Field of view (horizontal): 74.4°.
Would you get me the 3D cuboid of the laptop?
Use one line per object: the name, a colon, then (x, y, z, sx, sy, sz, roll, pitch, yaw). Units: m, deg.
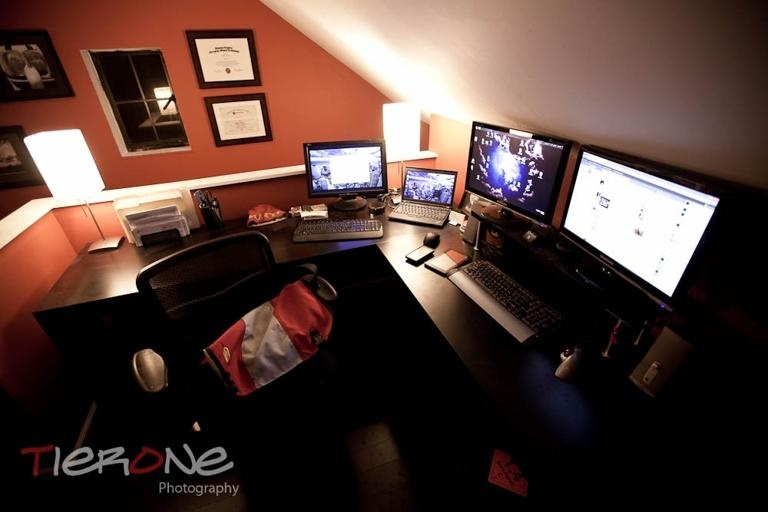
laptop: (0.317, -0.440, 3.671, 0.486, 0.299, 0.457, 11, 53, 17)

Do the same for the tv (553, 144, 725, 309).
tv: (1.331, -0.147, 2.580, 0.121, 0.528, 0.731, -10, 42, -34)

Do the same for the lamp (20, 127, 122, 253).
lamp: (-2.000, -0.429, 3.336, 0.361, 0.810, 0.266, -13, 30, -22)

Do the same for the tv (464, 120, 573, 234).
tv: (0.840, -0.483, 3.060, 0.106, 0.436, 0.615, -26, 46, -34)

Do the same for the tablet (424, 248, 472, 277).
tablet: (0.408, 0.034, 3.148, 0.205, 0.030, 0.149, -30, 45, -31)

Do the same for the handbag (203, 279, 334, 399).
handbag: (-0.576, 0.439, 2.870, 0.772, 0.232, 0.508, -37, 74, -25)

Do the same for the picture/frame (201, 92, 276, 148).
picture/frame: (-1.115, -1.057, 3.853, 0.438, 0.379, 0.037, -10, 38, -12)

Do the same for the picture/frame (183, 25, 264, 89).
picture/frame: (-1.171, -1.465, 3.662, 0.458, 0.405, 0.039, -9, 36, -11)

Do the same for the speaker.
speaker: (1.349, 0.515, 2.471, 0.222, 0.320, 0.121, -10, 29, -17)

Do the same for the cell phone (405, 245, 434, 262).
cell phone: (0.236, -0.012, 3.235, 0.089, 0.016, 0.159, 20, 41, 25)

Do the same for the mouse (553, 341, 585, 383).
mouse: (0.931, 0.547, 2.548, 0.110, 0.068, 0.207, 18, 71, 34)
